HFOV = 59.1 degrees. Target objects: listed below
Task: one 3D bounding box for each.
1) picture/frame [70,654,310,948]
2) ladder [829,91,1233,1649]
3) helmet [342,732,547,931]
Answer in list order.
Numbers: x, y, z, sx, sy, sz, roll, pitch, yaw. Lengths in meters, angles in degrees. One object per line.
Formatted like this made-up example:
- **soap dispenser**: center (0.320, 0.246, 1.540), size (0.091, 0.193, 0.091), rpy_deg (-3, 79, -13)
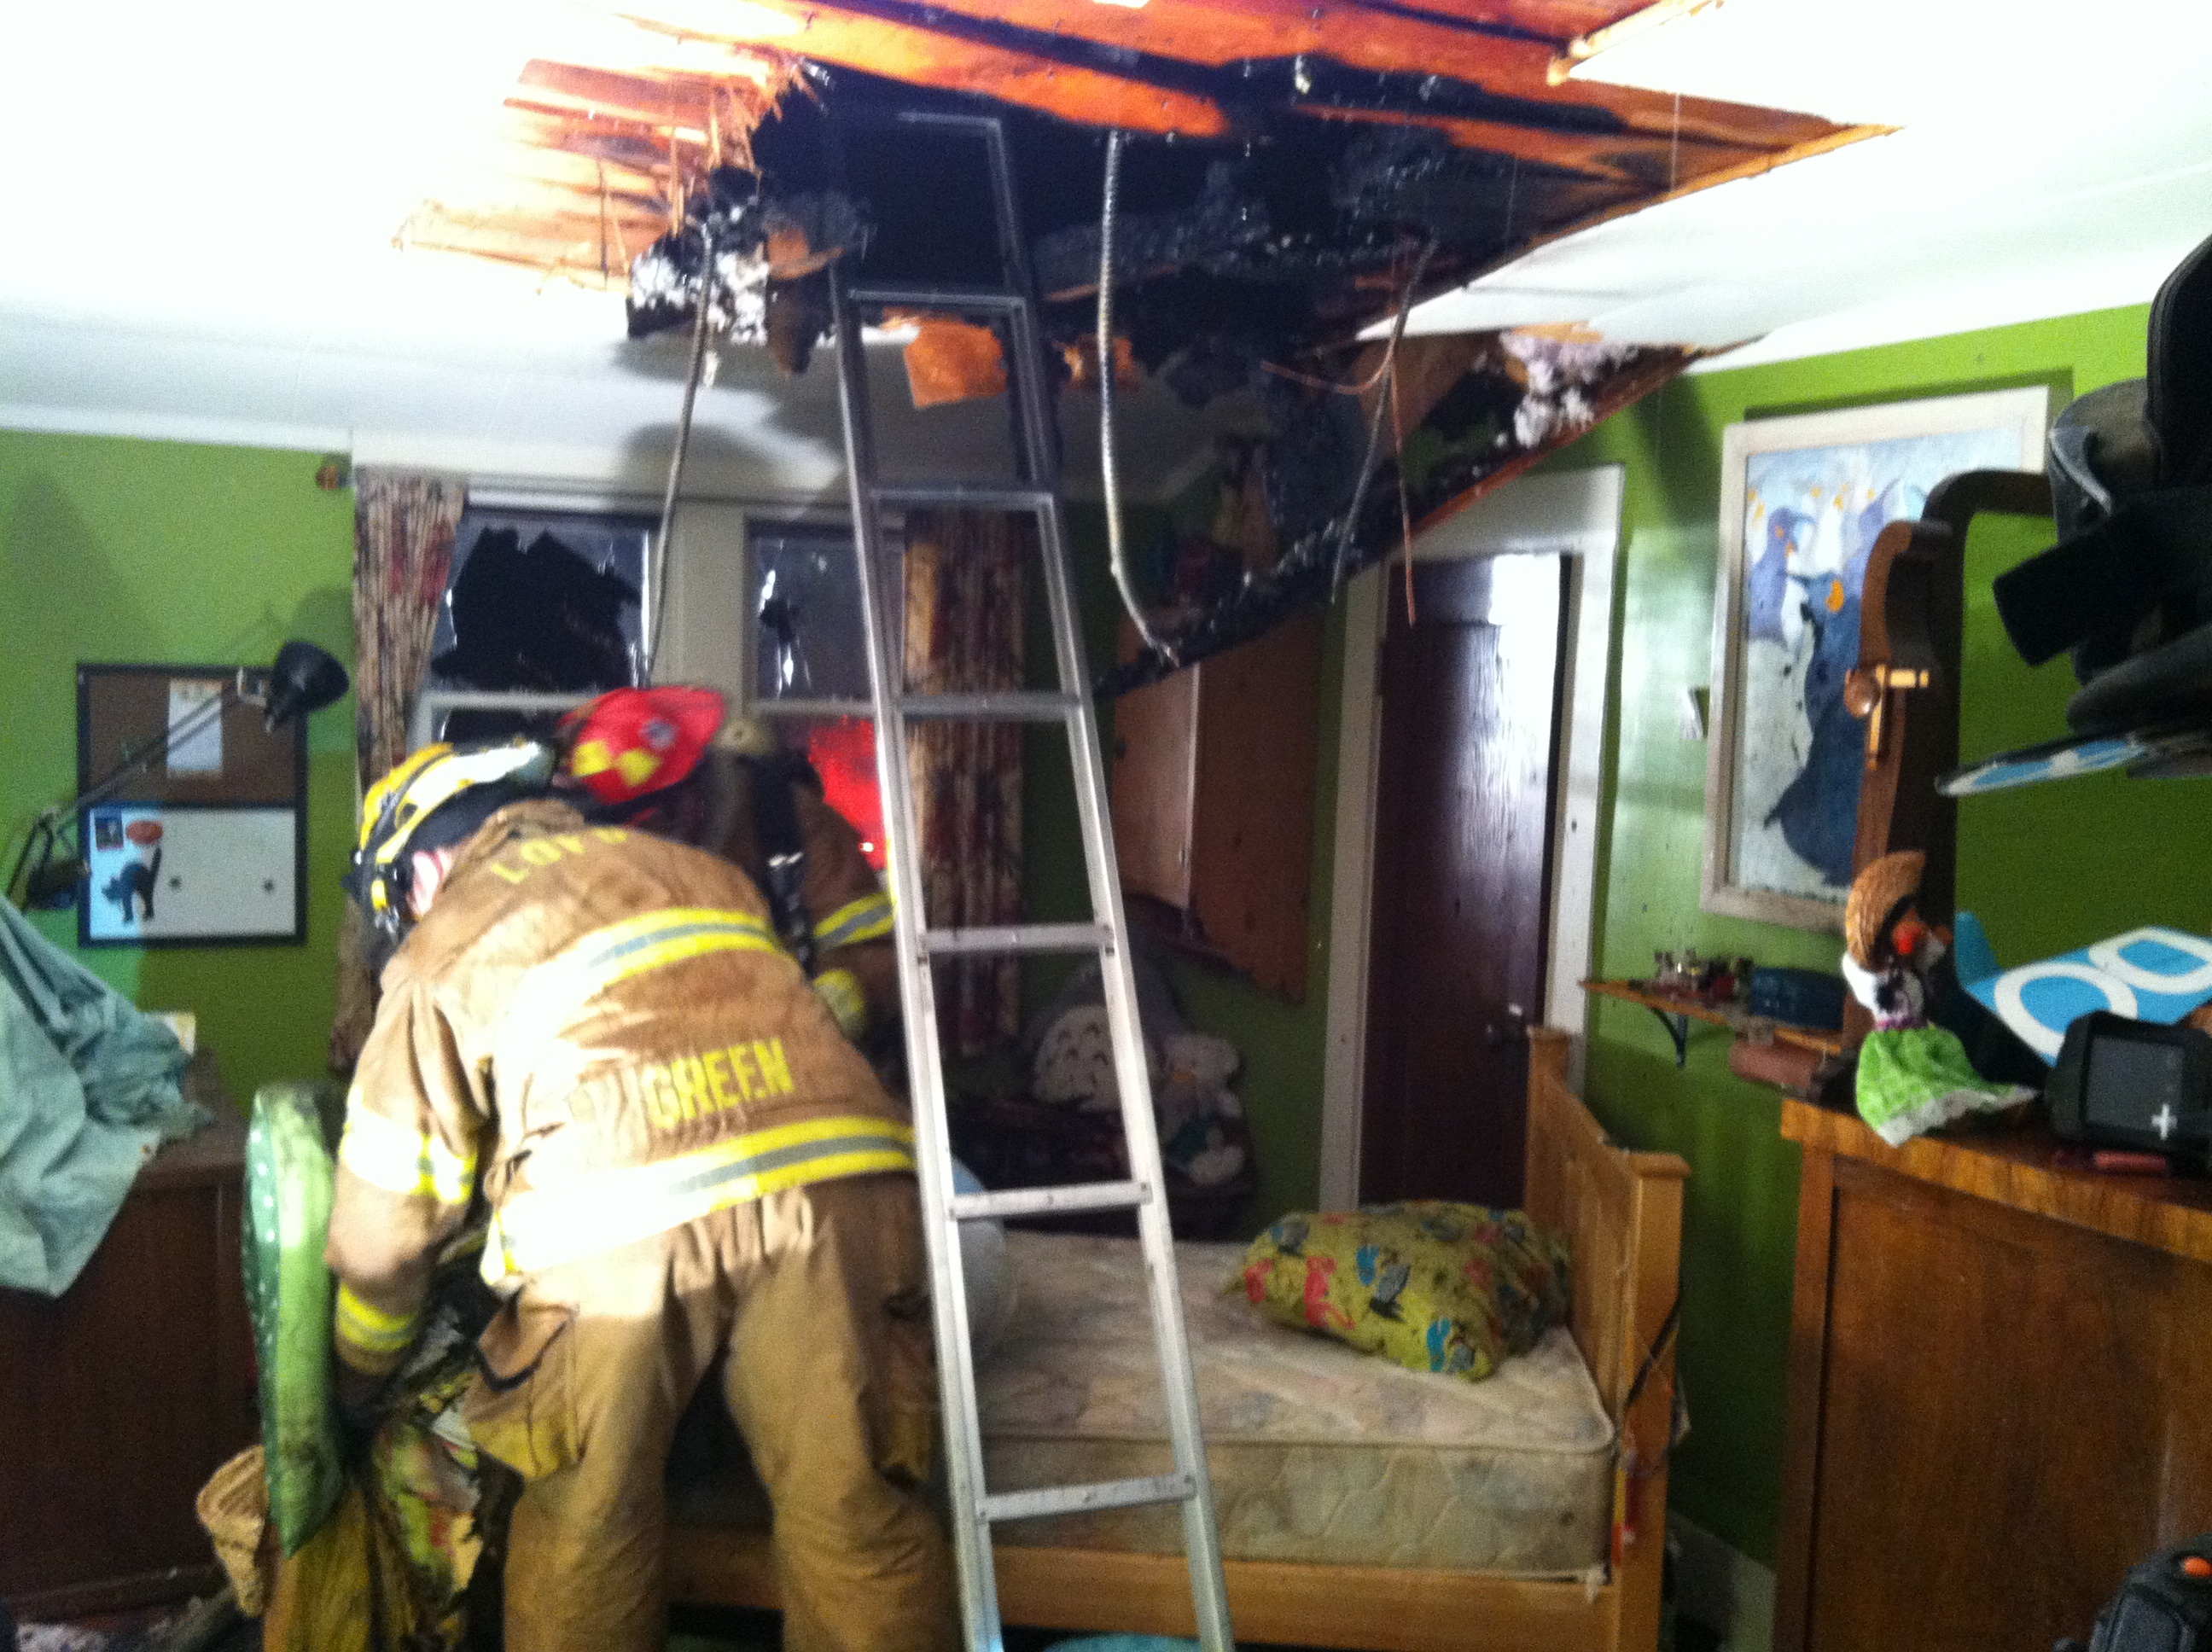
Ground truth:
- **picture/frame**: center (-1.844, -0.070, 3.911), size (0.500, 0.728, 0.045), rpy_deg (0, 4, -11)
- **ladder**: center (-0.127, 0.215, 3.565), size (0.678, 2.800, 0.881), rpy_deg (-1, 2, -7)
- **helmet**: center (-1.298, -0.016, 3.896), size (0.340, 0.435, 0.313), rpy_deg (11, 18, -6)
